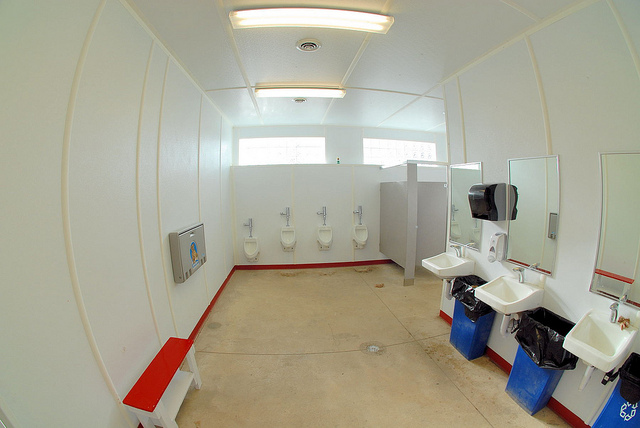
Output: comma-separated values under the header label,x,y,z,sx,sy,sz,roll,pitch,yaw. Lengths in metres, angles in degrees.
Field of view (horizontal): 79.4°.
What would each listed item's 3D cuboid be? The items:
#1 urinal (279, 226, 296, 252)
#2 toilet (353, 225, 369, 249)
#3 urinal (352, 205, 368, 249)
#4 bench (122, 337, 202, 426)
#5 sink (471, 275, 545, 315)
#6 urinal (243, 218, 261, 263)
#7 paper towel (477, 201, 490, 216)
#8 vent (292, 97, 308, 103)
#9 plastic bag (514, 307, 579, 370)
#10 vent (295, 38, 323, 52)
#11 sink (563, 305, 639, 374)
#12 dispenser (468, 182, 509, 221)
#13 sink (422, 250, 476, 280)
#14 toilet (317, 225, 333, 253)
label,x,y,z,sx,sy,sz,roll,pitch,yaw
urinal,-0.628,0.465,7.639,0.331,0.482,0.165,0,-15,-3
toilet,0.820,0.429,7.839,0.313,0.448,0.414,-1,2,-5
urinal,0.802,0.273,7.821,0.313,0.897,0.231,-2,7,8
bench,-1.751,1.843,4.200,0.372,0.703,0.742,6,25,11
sink,2.197,0.965,4.496,0.482,0.229,0.446,-12,15,-20
urinal,-1.347,0.533,7.533,0.347,0.891,0.295,-4,7,-9
paper towel,2.031,-0.068,4.786,0.102,0.134,0.052,16,26,25
vent,-0.331,-1.872,6.363,0.249,0.044,0.221,-3,7,-6
plastic bag,2.467,1.368,4.207,0.417,0.667,0.500,-2,10,-14
vent,-0.139,-2.110,4.832,0.299,0.093,0.276,-7,8,-34
sink,2.859,1.291,3.913,0.721,0.324,0.536,-33,29,-16
dispenser,2.175,-0.154,4.975,0.327,0.512,0.533,-1,2,-7
sink,1.763,0.774,5.398,0.497,0.388,0.567,1,6,-8
toilet,0.103,0.460,7.709,0.310,0.468,0.225,-3,7,-2
